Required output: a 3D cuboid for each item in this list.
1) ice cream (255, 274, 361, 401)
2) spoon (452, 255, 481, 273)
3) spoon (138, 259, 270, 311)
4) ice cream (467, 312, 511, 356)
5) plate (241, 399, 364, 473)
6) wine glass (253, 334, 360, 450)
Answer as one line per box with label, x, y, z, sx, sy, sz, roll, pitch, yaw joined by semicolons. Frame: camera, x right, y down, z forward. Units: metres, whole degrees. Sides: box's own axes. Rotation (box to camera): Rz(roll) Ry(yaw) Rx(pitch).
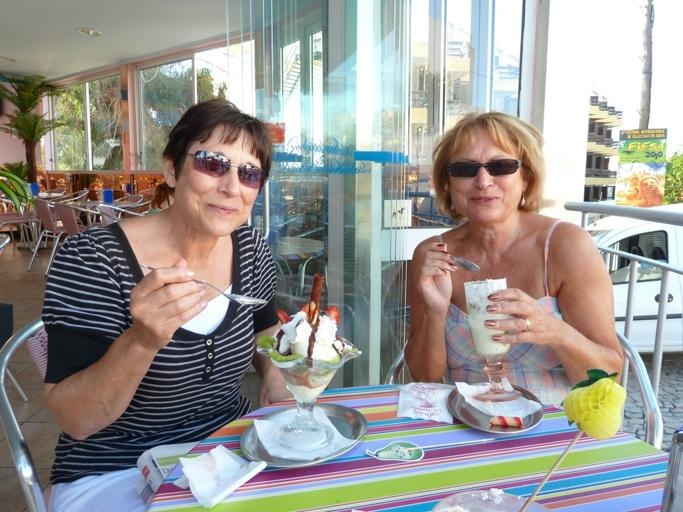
ice cream;-0.079;0.239;1.529;0.320;0.301;0.307;-8;13;-34
spoon;0.469;0.032;2.004;0.103;0.024;0.082;23;3;21
spoon;-0.438;0.089;1.654;0.437;0.044;0.066;20;54;18
ice cream;0.468;0.242;1.747;0.148;0.159;0.146;0;4;38
plate;-0.105;0.505;1.519;0.332;0.035;0.334;-10;12;-29
wine glass;-0.112;0.401;1.530;0.259;0.262;0.295;0;-20;3
